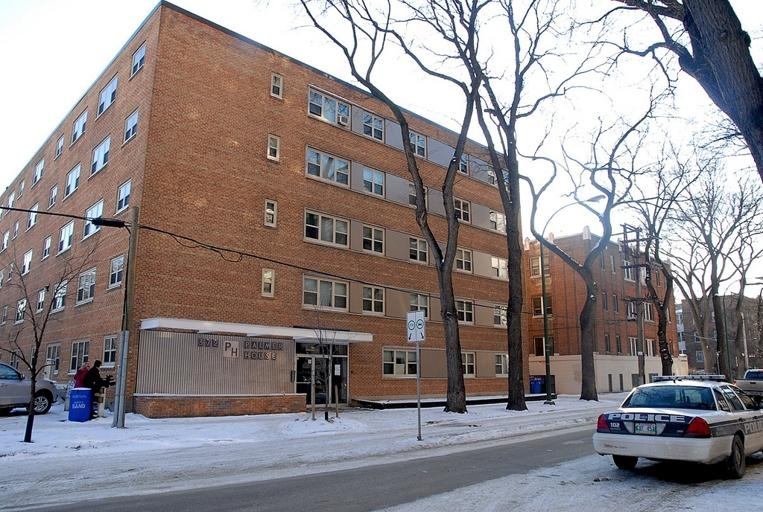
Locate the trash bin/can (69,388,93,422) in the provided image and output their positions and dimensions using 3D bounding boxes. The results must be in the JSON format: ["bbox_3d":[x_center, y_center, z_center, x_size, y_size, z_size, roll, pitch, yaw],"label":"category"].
[{"bbox_3d":[-11.529,5.726,20.683,0.733,1.251,0.617,5,-10,-31],"label":"trash bin/can"}]
